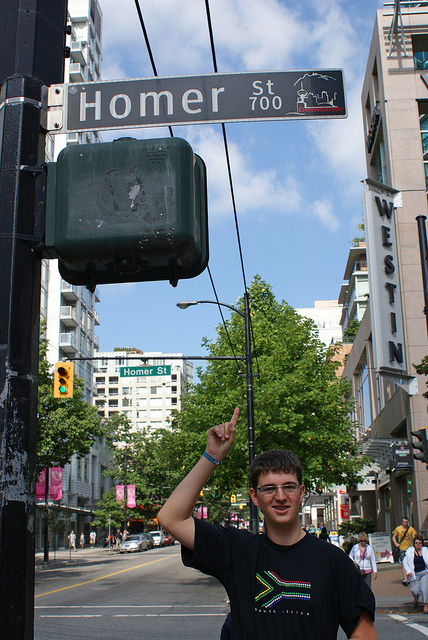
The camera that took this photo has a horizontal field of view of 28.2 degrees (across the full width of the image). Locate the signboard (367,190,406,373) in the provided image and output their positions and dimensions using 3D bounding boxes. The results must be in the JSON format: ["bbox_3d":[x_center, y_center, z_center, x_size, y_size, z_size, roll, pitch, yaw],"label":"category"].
[{"bbox_3d":[4.949,-1.126,24.595,1.451,5.245,1.115,8,-6,-39],"label":"signboard"}]

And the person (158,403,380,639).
[{"bbox_3d":[0.205,0.783,3.138,0.819,0.804,0.311,3,-5,26],"label":"person"}]

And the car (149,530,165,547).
[{"bbox_3d":[-4.499,17.317,67.030,0.741,0.847,1.512,0,0,3],"label":"car"}]

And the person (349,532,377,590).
[{"bbox_3d":[2.527,4.315,14.522,0.454,1.369,0.376,-2,7,3],"label":"person"}]

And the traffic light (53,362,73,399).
[{"bbox_3d":[-3.162,1.261,17.910,0.353,0.742,0.965,5,-4,-10],"label":"traffic light"}]

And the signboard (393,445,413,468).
[{"bbox_3d":[5.452,3.958,24.628,0.624,0.685,0.377,6,-5,-8],"label":"signboard"}]

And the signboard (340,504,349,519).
[{"bbox_3d":[7.056,10.513,46.383,0.445,0.713,1.462,4,-5,10],"label":"signboard"}]
